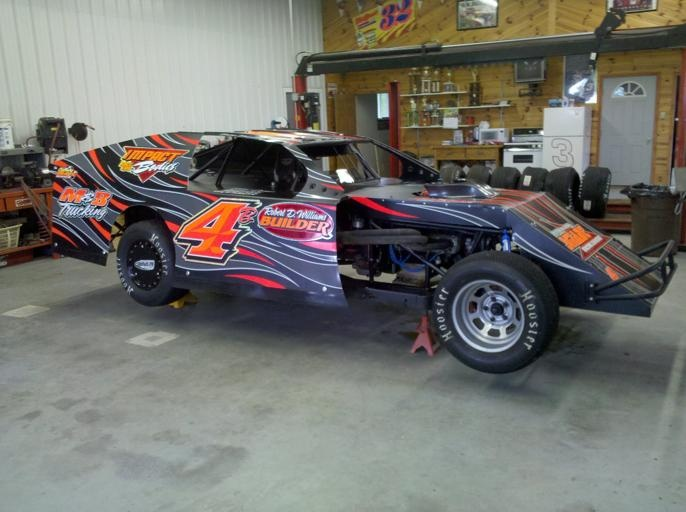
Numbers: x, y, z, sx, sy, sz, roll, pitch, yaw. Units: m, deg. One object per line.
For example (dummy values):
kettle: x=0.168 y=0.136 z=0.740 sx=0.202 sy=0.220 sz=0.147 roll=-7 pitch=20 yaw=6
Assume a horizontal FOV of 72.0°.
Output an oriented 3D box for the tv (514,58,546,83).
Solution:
tv: x=4.168 y=-4.128 z=10.550 sx=0.641 sy=0.440 sz=0.318 roll=2 pitch=17 yaw=10

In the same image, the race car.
race car: x=-0.056 y=-0.219 z=4.092 sx=4.962 sy=1.758 sz=1.286 roll=6 pitch=18 yaw=25

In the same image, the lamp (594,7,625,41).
lamp: x=3.839 y=-3.351 z=6.813 sx=0.352 sy=0.424 sz=0.427 roll=5 pitch=17 yaw=22

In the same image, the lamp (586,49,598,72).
lamp: x=3.844 y=-2.967 z=7.263 sx=0.103 sy=0.271 sz=0.858 roll=7 pitch=16 yaw=26
